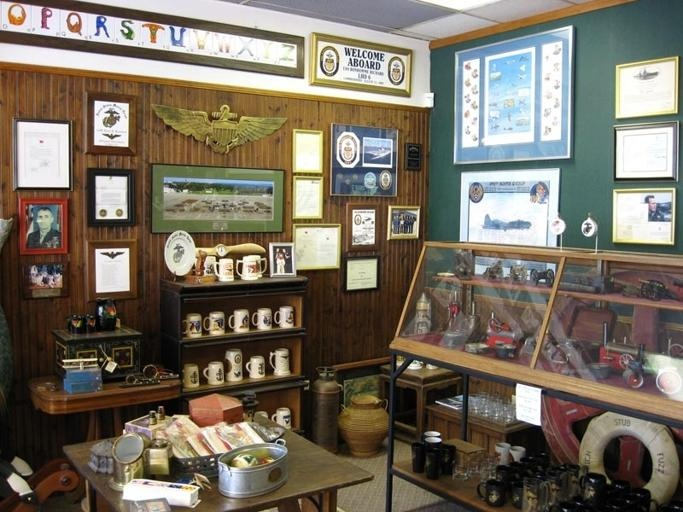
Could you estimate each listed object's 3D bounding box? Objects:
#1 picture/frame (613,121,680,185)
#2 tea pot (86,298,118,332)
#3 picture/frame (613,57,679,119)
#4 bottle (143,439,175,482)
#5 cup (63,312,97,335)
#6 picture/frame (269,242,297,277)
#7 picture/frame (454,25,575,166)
[{"bbox_3d":[2.401,-0.811,4.007,0.035,0.521,0.497,-4,7,-39],"label":"picture/frame"},{"bbox_3d":[-1.822,0.448,3.995,0.159,0.236,0.235,-1,-3,27],"label":"tea pot"},{"bbox_3d":[2.389,-1.314,3.992,0.038,0.525,0.529,-1,3,-42],"label":"picture/frame"},{"bbox_3d":[-0.822,0.925,2.312,0.113,0.162,0.077,-4,7,-15],"label":"bottle"},{"bbox_3d":[-1.943,0.507,3.819,0.177,0.124,0.134,1,7,5],"label":"cup"},{"bbox_3d":[-0.530,0.032,4.625,0.290,0.371,0.041,1,-5,-27],"label":"picture/frame"},{"bbox_3d":[1.657,-1.522,4.802,0.094,1.240,1.379,1,-1,-42],"label":"picture/frame"}]
